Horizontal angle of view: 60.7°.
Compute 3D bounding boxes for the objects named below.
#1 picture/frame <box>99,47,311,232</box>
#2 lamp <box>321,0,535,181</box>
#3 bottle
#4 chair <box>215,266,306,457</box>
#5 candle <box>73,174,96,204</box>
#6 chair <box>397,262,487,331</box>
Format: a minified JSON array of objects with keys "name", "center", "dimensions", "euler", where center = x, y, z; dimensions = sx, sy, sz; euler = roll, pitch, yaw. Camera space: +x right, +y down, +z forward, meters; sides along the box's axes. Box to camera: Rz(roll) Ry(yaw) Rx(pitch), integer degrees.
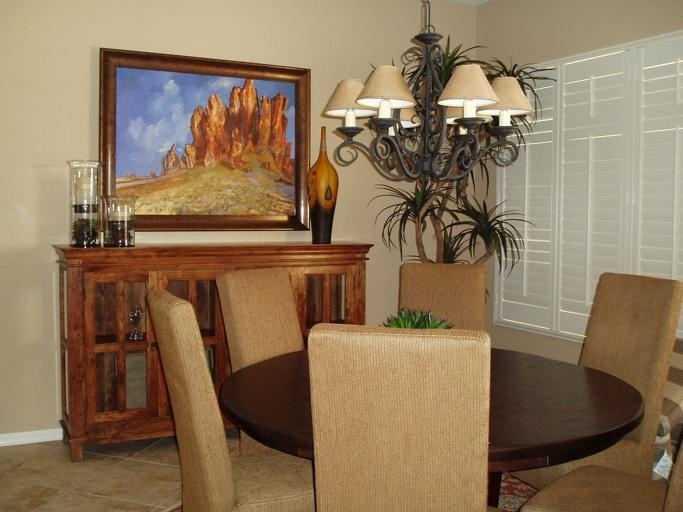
[{"name":"picture/frame","center":[-1.007,-0.822,4.076],"dimensions":[1.424,1.033,0.054],"euler":[0,2,-29]},{"name":"lamp","center":[0.568,-0.921,3.251],"dimensions":[0.926,1.009,1.847],"euler":[3,7,18]},{"name":"bottle","center":[-1.513,-0.337,3.718],"dimensions":[0.386,0.541,0.472],"euler":[-3,8,-25]},{"name":"chair","center":[-0.263,0.459,2.815],"dimensions":[0.497,0.783,0.554],"euler":[-7,3,-30]},{"name":"candle","center":[-1.576,-0.420,3.612],"dimensions":[0.163,0.186,0.162],"euler":[0,7,-25]},{"name":"chair","center":[0.648,0.176,3.548],"dimensions":[0.472,0.660,0.369],"euler":[1,46,14]}]
